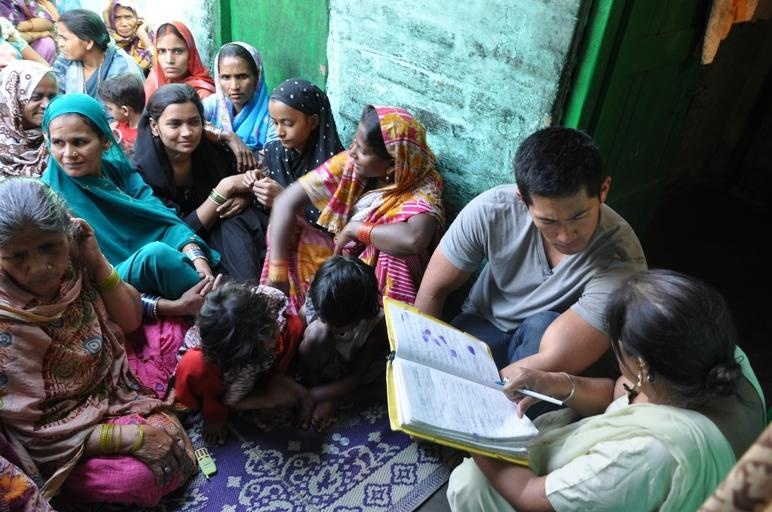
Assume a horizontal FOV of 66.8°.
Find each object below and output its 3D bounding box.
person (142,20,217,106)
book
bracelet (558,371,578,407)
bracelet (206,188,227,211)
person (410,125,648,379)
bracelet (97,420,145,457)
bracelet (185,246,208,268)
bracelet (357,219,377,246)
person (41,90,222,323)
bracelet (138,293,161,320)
[{"bbox_3d":[-1.874,-1.674,5.222,0.738,0.732,0.394,-2,22,-12],"label":"person"},{"bbox_3d":[0.300,0.549,2.719,0.682,0.135,0.746,24,29,-21],"label":"book"},{"bbox_3d":[0.847,0.615,2.701,0.029,0.120,0.118,0,10,-23],"label":"bracelet"},{"bbox_3d":[-1.144,-0.386,3.965,0.112,0.084,0.110,39,-10,-17],"label":"bracelet"},{"bbox_3d":[0.695,-0.002,3.028,0.677,0.987,1.002,25,-22,12],"label":"person"},{"bbox_3d":[-1.267,0.876,2.802,0.162,0.086,0.148,-1,-11,8],"label":"bracelet"},{"bbox_3d":[-1.202,-0.007,3.768,0.113,0.115,0.111,-44,10,-21],"label":"bracelet"},{"bbox_3d":[-0.121,-0.136,3.570,0.119,0.127,0.103,2,7,14],"label":"bracelet"},{"bbox_3d":[-1.616,-0.255,3.642,0.870,1.370,0.715,8,35,33],"label":"person"},{"bbox_3d":[-1.331,0.289,3.386,0.126,0.130,0.121,8,2,6],"label":"bracelet"}]
